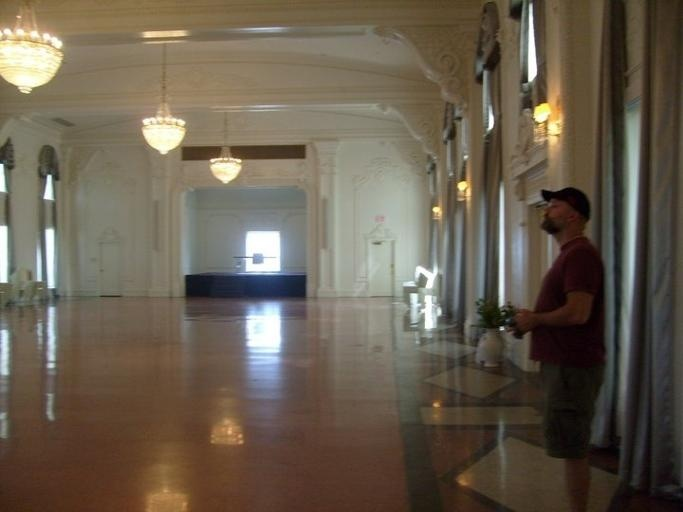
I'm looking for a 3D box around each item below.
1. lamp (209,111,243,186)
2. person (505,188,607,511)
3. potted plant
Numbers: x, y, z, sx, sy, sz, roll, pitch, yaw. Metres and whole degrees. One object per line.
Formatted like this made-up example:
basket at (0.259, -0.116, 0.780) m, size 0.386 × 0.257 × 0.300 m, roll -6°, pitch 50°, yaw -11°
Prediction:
lamp at (-3.405, -3.268, 18.747) m, size 1.045 × 2.175 × 3.139 m, roll -1°, pitch 6°, yaw -12°
person at (1.612, 0.710, 4.602) m, size 0.581 × 2.400 × 0.452 m, roll 3°, pitch 7°, yaw 22°
potted plant at (1.945, 1.031, 8.435) m, size 0.658 × 0.855 × 0.616 m, roll 7°, pitch -7°, yaw -23°
